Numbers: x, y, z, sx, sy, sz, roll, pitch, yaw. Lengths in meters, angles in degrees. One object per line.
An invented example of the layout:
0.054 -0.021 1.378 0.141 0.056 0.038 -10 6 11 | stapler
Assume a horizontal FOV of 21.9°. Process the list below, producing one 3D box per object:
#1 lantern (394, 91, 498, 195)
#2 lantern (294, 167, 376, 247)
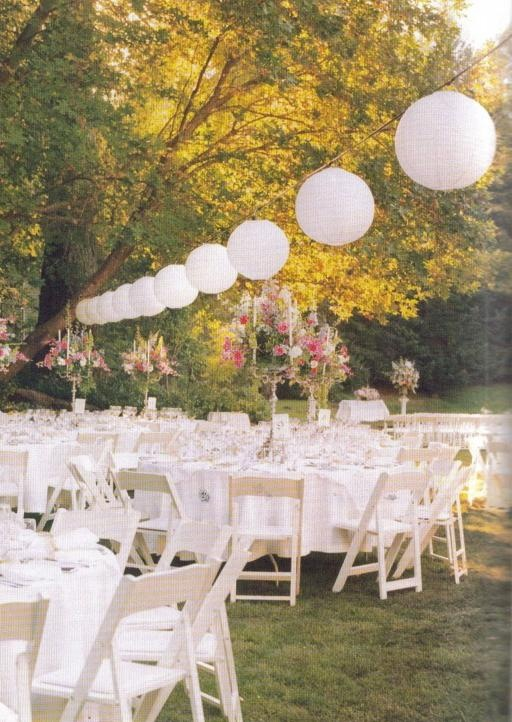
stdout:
0.867 -1.009 6.106 0.374 0.524 0.403 3 -2 19 | lantern
0.391 -0.763 6.656 0.308 0.425 0.211 9 3 -4 | lantern
